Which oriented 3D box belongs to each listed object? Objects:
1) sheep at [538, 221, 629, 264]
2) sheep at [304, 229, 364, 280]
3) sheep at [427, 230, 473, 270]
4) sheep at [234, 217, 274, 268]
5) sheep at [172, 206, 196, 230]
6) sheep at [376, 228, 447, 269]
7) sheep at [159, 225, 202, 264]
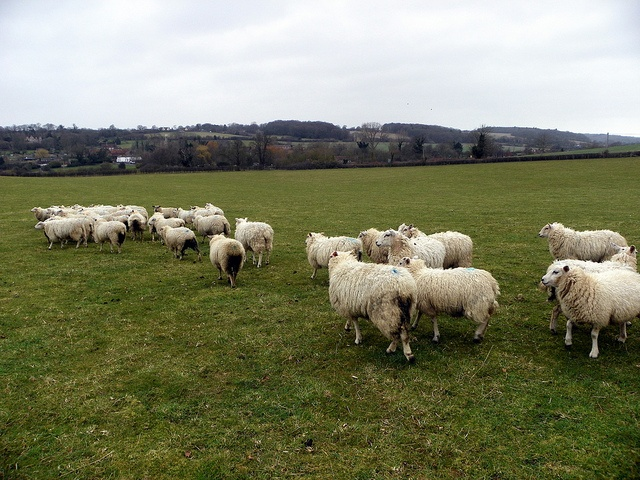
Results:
[{"bbox_3d":[8.614,0.022,17.409,2.938,2.009,1.197,0,1,25],"label":"sheep"},{"bbox_3d":[0.372,0.619,17.522,2.237,1.576,1.162,8,9,38],"label":"sheep"},{"bbox_3d":[4.127,0.485,16.729,1.691,1.249,0.871,-11,3,-12],"label":"sheep"},{"bbox_3d":[-2.675,0.017,20.252,0.972,1.766,2.296,-5,7,-39],"label":"sheep"},{"bbox_3d":[-6.724,-1.112,27.137,1.832,1.301,0.872,10,14,36],"label":"sheep"},{"bbox_3d":[2.706,0.299,15.584,1.994,1.551,1.029,1,10,-1],"label":"sheep"},{"bbox_3d":[-5.588,0.128,20.771,2.247,1.434,0.761,0,4,41],"label":"sheep"}]
